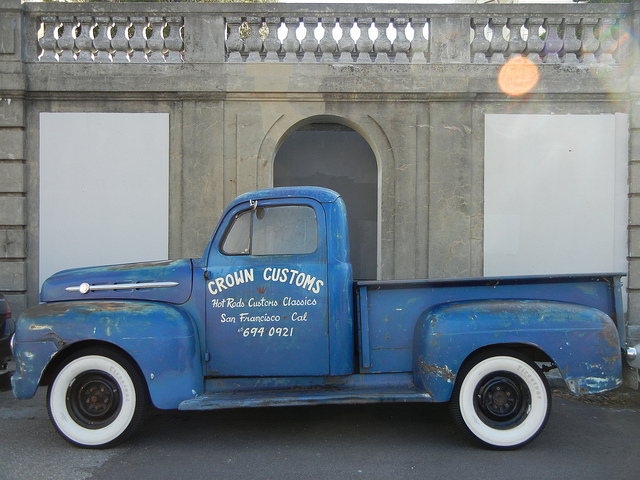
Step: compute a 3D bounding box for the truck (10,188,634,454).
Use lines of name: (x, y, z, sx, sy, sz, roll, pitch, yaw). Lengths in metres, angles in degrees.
truck: (0.112, 1.280, 11.201, 8.224, 3.517, 3.426, 1, -4, 2)
